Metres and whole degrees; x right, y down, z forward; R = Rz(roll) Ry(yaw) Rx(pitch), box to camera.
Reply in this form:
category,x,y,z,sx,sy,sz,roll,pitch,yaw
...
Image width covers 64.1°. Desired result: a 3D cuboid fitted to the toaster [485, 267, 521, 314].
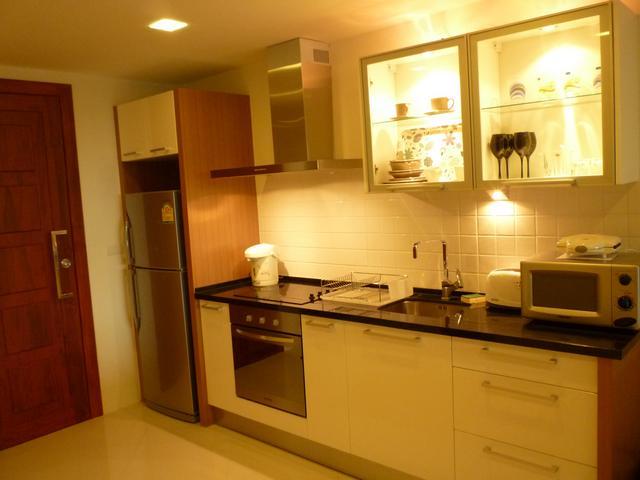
category,x,y,z,sx,sy,sz,roll,pitch,yaw
toaster,1.092,0.295,3.067,0.196,0.248,0.108,2,13,28

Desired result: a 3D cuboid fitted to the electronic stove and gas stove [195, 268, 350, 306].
category,x,y,z,sx,sy,sz,roll,pitch,yaw
electronic stove and gas stove,-0.329,0.356,4.017,1.198,0.154,0.701,4,14,37

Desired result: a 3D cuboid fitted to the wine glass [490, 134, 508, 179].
category,x,y,z,sx,sy,sz,roll,pitch,yaw
wine glass,1.062,-0.500,3.033,0.116,0.263,0.103,-1,12,16

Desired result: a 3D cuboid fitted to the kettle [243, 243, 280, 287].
category,x,y,z,sx,sy,sz,roll,pitch,yaw
kettle,-0.491,0.185,4.241,0.226,0.374,0.230,-5,10,-39

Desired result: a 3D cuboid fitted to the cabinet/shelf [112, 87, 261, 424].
category,x,y,z,sx,sy,sz,roll,pitch,yaw
cabinet/shelf,-1.053,0.000,4.698,1.038,2.994,0.948,1,6,44

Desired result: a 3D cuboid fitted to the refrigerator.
category,x,y,z,sx,sy,sz,roll,pitch,yaw
refrigerator,-1.090,0.513,4.760,1.019,1.890,0.772,0,6,45

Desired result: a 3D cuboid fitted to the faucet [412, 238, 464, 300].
category,x,y,z,sx,sy,sz,roll,pitch,yaw
faucet,0.799,0.226,3.467,0.287,0.448,0.202,-3,8,-25

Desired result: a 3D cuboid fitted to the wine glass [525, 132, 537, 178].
category,x,y,z,sx,sy,sz,roll,pitch,yaw
wine glass,1.227,-0.505,2.991,0.062,0.256,0.154,1,13,24

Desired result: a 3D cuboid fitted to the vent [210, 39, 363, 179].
category,x,y,z,sx,sy,sz,roll,pitch,yaw
vent,-0.233,-1.022,3.949,1.014,0.718,0.514,-1,3,40

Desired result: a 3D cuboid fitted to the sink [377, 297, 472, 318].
category,x,y,z,sx,sy,sz,roll,pitch,yaw
sink,0.689,0.458,3.303,0.556,0.104,0.347,0,12,23
